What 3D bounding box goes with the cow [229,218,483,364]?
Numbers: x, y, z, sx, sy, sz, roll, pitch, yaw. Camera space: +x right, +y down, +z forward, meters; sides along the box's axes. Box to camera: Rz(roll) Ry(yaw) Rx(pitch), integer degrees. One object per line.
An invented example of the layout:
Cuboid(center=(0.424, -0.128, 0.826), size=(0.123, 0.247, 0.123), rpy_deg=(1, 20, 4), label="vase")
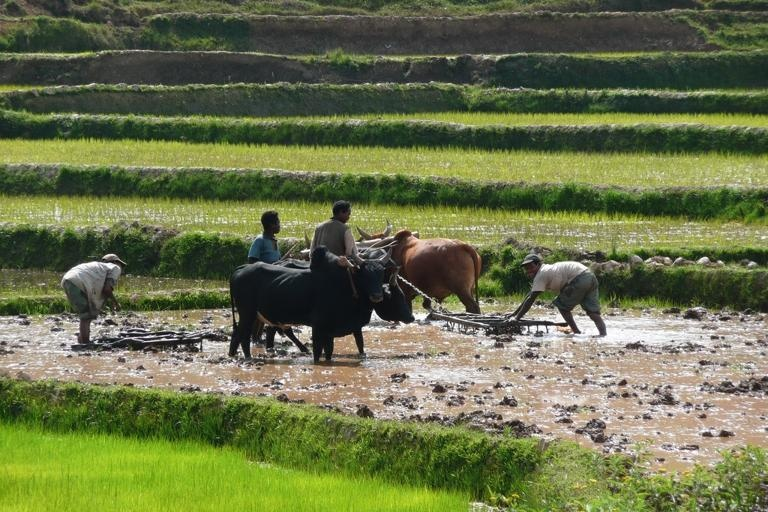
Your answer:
Cuboid(center=(-1.093, 1.406, 66.271), size=(9.629, 5.264, 3.174), rpy_deg=(1, 3, -2), label="cow")
